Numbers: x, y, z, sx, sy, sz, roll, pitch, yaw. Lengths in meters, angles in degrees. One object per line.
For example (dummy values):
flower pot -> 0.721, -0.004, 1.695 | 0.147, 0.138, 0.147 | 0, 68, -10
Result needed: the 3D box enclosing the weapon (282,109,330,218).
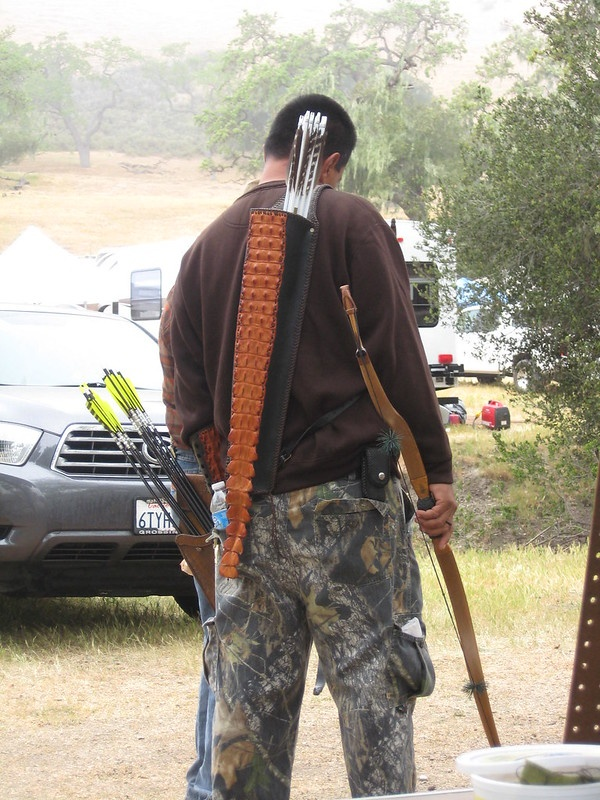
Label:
weapon -> 0.016, -0.551, 1.970 | 0.087, 0.313, 0.085 | 15, -40, 0
